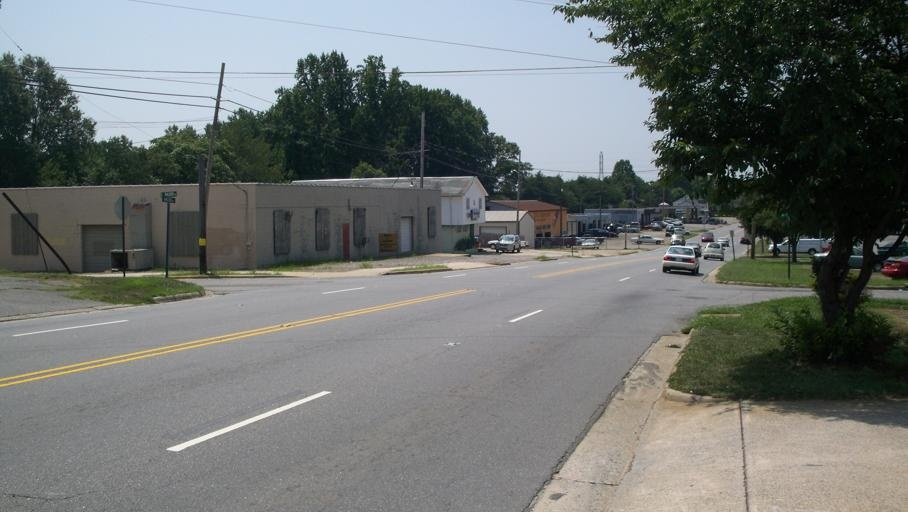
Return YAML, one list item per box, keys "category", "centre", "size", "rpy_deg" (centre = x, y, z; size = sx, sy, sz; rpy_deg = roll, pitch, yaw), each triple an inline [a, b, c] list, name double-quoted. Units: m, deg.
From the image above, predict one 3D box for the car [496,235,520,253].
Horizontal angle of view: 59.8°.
- category: "car"
  centre: [5.624, -1.132, 81.273]
  size: [1.329, 1.103, 2.887]
  rpy_deg: [-1, -3, 16]

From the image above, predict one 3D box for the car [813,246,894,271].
- category: "car"
  centre: [14.679, 0.130, 28.674]
  size: [2.957, 1.015, 1.344]
  rpy_deg: [-3, 4, 13]

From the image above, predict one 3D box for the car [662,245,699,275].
- category: "car"
  centre: [13.739, 0.360, 47.698]
  size: [1.847, 1.530, 2.235]
  rpy_deg: [5, 12, 24]
